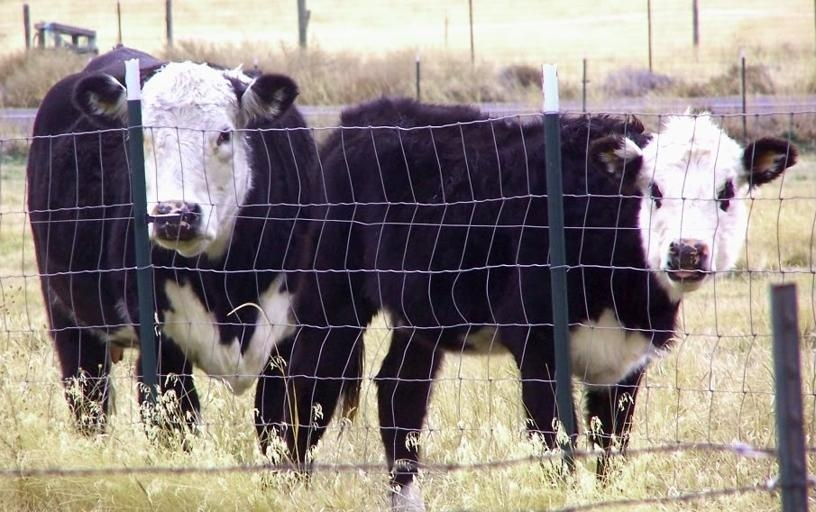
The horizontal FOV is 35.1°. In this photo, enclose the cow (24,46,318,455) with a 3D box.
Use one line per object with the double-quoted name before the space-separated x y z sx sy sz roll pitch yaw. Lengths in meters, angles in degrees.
"cow" -2.804 -0.059 15.268 3.177 4.633 1.481 0 4 14
